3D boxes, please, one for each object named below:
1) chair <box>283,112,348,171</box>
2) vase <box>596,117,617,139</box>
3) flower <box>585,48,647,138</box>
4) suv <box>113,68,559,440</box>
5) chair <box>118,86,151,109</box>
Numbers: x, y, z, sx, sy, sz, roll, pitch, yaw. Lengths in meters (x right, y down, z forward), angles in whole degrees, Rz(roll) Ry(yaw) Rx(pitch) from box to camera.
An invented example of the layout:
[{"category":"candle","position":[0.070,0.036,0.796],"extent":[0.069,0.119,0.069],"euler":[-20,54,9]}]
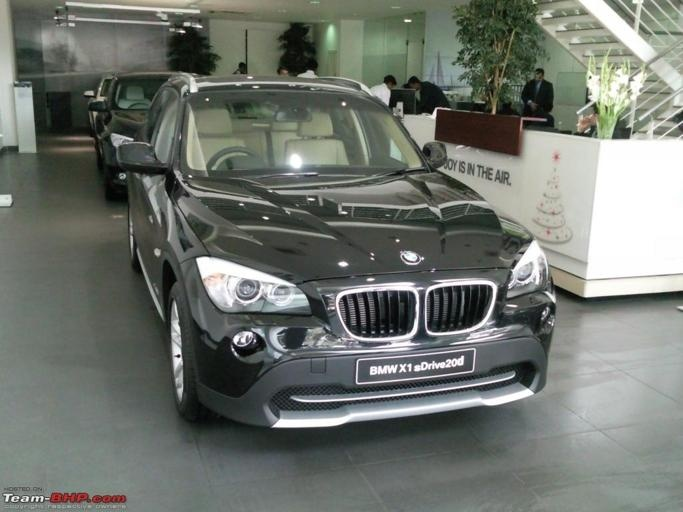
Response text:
[{"category":"chair","position":[-0.190,-0.742,3.413],"extent":[0.362,0.462,0.526],"euler":[1,1,-10]},{"category":"vase","position":[2.486,-1.210,4.583],"extent":[0.154,0.207,0.274],"euler":[9,20,26]},{"category":"flower","position":[2.569,-1.472,4.690],"extent":[0.409,0.751,0.478],"euler":[3,7,-42]},{"category":"suv","position":[-0.395,-0.333,3.498],"extent":[1.526,1.295,3.450],"euler":[-3,18,-20]},{"category":"chair","position":[-3.859,-2.845,9.086],"extent":[0.514,0.577,0.538],"euler":[-6,23,-23]}]
